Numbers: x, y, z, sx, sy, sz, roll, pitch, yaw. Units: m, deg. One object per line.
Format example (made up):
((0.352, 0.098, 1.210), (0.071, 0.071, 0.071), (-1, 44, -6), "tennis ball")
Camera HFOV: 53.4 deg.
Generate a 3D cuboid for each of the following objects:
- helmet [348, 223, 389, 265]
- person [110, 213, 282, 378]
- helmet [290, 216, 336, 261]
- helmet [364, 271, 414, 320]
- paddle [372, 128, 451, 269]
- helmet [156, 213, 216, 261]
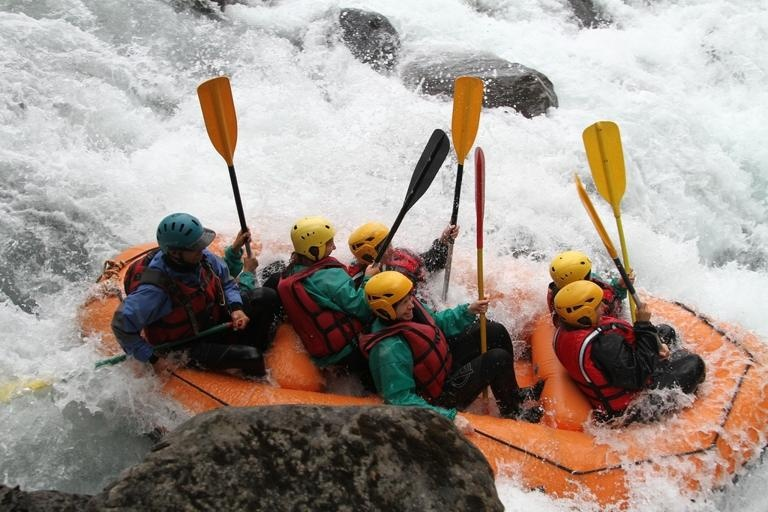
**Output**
((-0.095, -0.072, 7.881), (0.361, 0.428, 0.314), (63, 21, 2), "helmet")
((-1.826, 0.450, 7.468), (1.036, 1.355, 1.072), (-4, 37, 7), "person")
((-0.744, -0.174, 7.590), (0.510, 0.417, 0.366), (-8, 12, -27), "helmet")
((0.062, 0.369, 7.165), (0.473, 0.372, 0.390), (-18, 22, -3), "helmet")
((0.326, -0.598, 8.819), (0.314, 2.078, 0.117), (33, 8, -3), "paddle")
((-1.873, -0.271, 7.205), (0.563, 0.267, 0.395), (3, 33, -3), "helmet")
